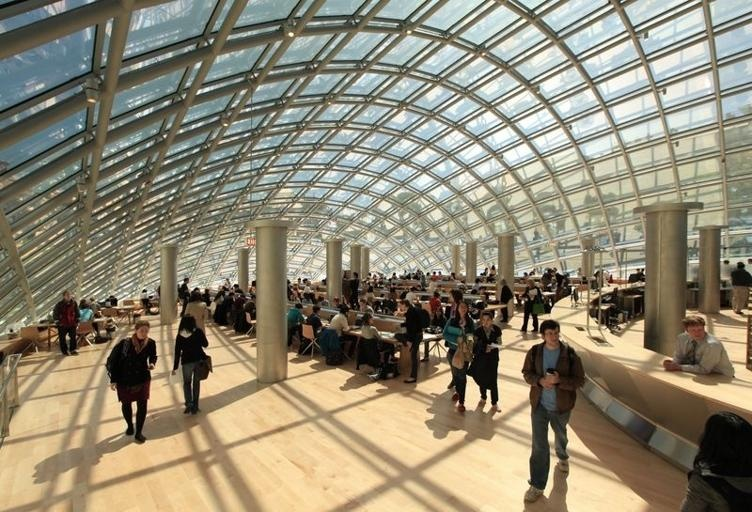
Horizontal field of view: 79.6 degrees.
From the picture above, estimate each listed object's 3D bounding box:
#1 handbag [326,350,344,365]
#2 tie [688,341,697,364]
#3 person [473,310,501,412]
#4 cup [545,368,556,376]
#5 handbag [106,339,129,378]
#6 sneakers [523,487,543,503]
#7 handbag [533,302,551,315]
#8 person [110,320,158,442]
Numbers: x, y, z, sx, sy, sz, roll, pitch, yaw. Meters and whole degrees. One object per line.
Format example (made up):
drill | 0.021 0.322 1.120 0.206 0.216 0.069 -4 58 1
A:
handbag | -1.743 4.252 19.192 0.704 0.610 0.573 -1 7 -14
tie | 8.391 2.557 11.984 0.225 0.597 0.136 7 16 33
person | 3.549 3.392 14.639 0.965 3.224 0.559 1 13 11
cup | 4.389 2.848 11.277 0.263 0.120 0.178 -2 12 -6
handbag | -7.663 3.077 13.415 0.664 1.245 0.468 -10 16 -34
sneakers | 3.974 5.949 11.397 0.237 0.226 0.566 -9 -16 43
handbag | 8.775 2.798 23.957 1.156 0.521 0.236 -2 15 -23
person | -7.364 3.695 13.634 1.287 3.525 1.215 10 17 40
